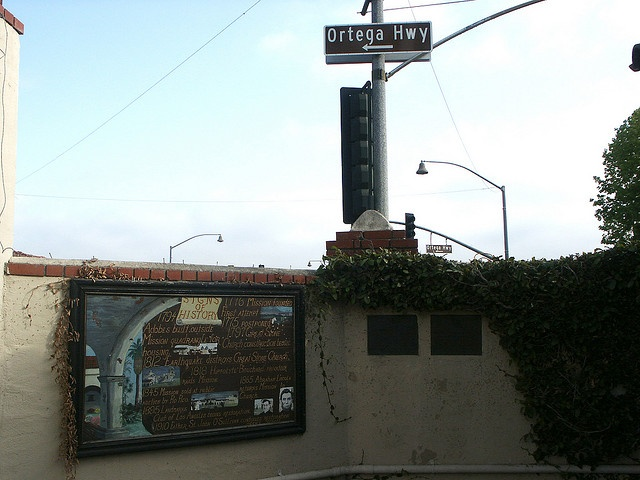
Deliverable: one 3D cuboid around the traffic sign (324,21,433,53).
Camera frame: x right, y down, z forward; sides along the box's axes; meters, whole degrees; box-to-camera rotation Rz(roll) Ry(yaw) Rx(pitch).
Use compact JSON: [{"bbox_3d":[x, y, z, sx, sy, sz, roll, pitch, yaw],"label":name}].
[{"bbox_3d":[1.012,-3.414,12.446,1.833,0.556,0.282,-2,-9,-5],"label":"traffic sign"}]
